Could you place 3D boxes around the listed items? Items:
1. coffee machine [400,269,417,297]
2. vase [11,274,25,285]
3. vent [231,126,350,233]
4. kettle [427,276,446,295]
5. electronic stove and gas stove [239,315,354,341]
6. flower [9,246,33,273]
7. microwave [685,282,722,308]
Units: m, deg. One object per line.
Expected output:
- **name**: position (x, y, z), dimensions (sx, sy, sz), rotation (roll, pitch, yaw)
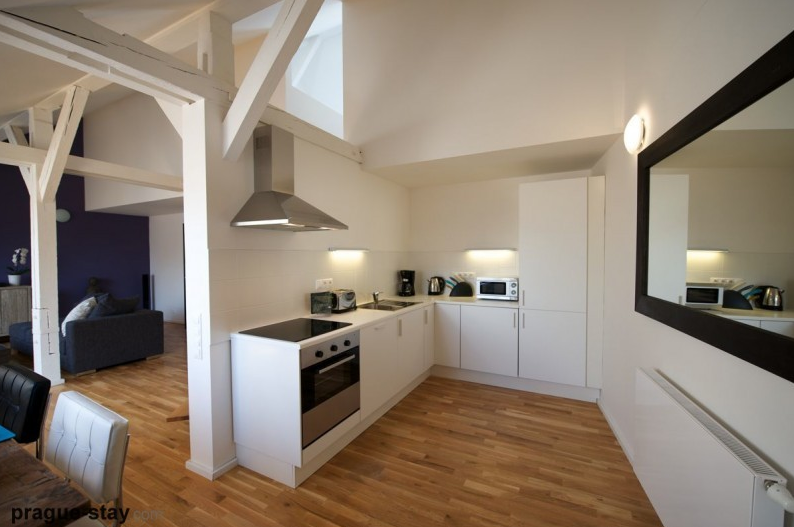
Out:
- **coffee machine**: position (0.215, 0.264, 7.070), dimensions (0.318, 0.371, 0.238), rotation (1, -1, 6)
- **vase**: position (-6.114, 0.258, 8.568), dimensions (0.162, 0.138, 0.176), rotation (1, 1, 20)
- **vent**: position (-0.974, -0.795, 5.069), dimensions (0.710, 0.875, 0.933), rotation (4, 4, 29)
- **kettle**: position (0.558, 0.295, 7.176), dimensions (0.243, 0.246, 0.224), rotation (1, 3, -2)
- **electronic stove and gas stove**: position (-0.931, 0.615, 4.977), dimensions (0.620, 0.087, 0.894), rotation (3, 4, 40)
- **flower**: position (-6.108, -0.045, 8.720), dimensions (0.315, 0.413, 0.310), rotation (4, 4, 40)
- **microwave**: position (2.205, 0.227, 3.857), dimensions (0.145, 0.236, 0.280), rotation (3, -4, -26)
